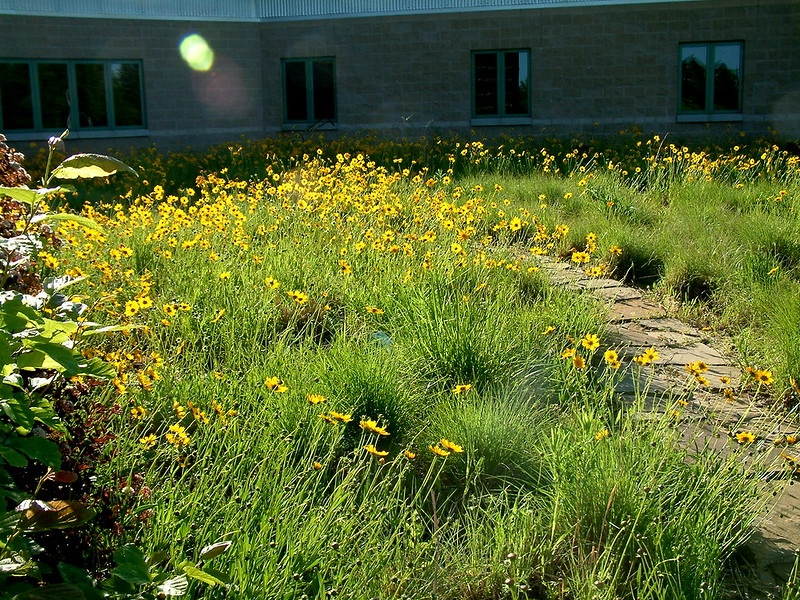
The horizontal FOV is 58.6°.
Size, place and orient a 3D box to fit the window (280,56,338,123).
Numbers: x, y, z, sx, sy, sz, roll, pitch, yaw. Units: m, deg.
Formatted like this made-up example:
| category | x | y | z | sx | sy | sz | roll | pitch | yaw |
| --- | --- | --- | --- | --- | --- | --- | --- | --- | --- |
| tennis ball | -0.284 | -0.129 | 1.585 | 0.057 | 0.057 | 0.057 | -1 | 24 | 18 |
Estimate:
| category | x | y | z | sx | sy | sz | roll | pitch | yaw |
| --- | --- | --- | --- | --- | --- | --- | --- | --- | --- |
| window | -2.241 | -5.290 | 17.956 | 1.427 | 1.936 | 0.111 | -3 | -16 | -6 |

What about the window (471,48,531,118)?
| category | x | y | z | sx | sy | sz | roll | pitch | yaw |
| --- | --- | --- | --- | --- | --- | --- | --- | --- | --- |
| window | 2.423 | -5.230 | 17.276 | 1.425 | 2.002 | 0.087 | 0 | -19 | 8 |

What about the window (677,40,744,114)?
| category | x | y | z | sx | sy | sz | roll | pitch | yaw |
| --- | --- | --- | --- | --- | --- | --- | --- | --- | --- |
| window | 7.253 | -5.271 | 16.590 | 1.291 | 1.965 | 0.115 | 0 | 3 | 9 |
